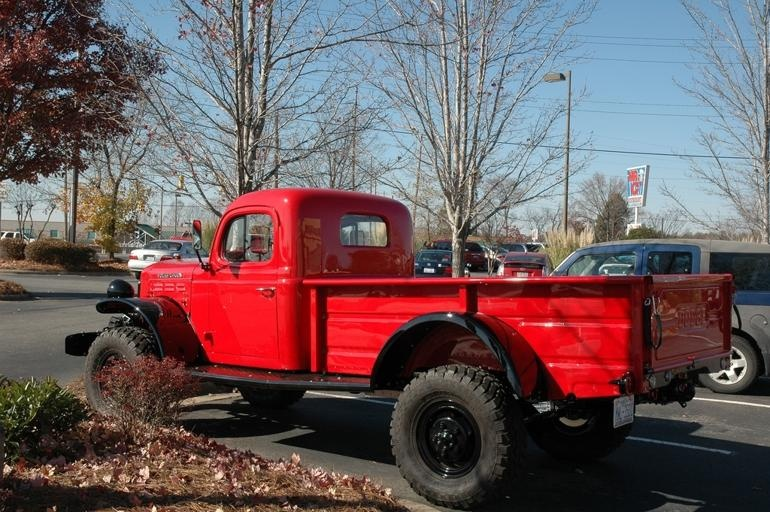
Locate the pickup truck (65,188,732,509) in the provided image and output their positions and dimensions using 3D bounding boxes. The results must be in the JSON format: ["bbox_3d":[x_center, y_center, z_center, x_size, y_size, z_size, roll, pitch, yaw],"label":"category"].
[{"bbox_3d":[0.681,0.944,8.761,9.075,3.509,3.653,4,-1,32],"label":"pickup truck"}]
